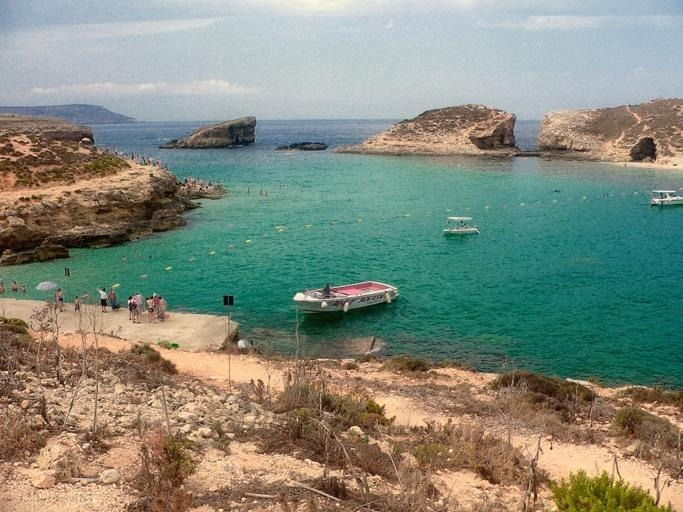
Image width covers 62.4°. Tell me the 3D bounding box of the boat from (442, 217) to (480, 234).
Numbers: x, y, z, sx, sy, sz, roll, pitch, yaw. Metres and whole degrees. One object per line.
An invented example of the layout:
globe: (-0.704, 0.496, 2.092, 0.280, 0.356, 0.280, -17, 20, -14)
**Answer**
boat: (11.290, -2.569, 51.916, 3.407, 1.112, 2.122, -5, 16, -15)

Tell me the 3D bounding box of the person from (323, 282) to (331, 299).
person: (-0.869, 2.086, 33.989, 0.451, 0.829, 0.837, -3, 13, -2)
